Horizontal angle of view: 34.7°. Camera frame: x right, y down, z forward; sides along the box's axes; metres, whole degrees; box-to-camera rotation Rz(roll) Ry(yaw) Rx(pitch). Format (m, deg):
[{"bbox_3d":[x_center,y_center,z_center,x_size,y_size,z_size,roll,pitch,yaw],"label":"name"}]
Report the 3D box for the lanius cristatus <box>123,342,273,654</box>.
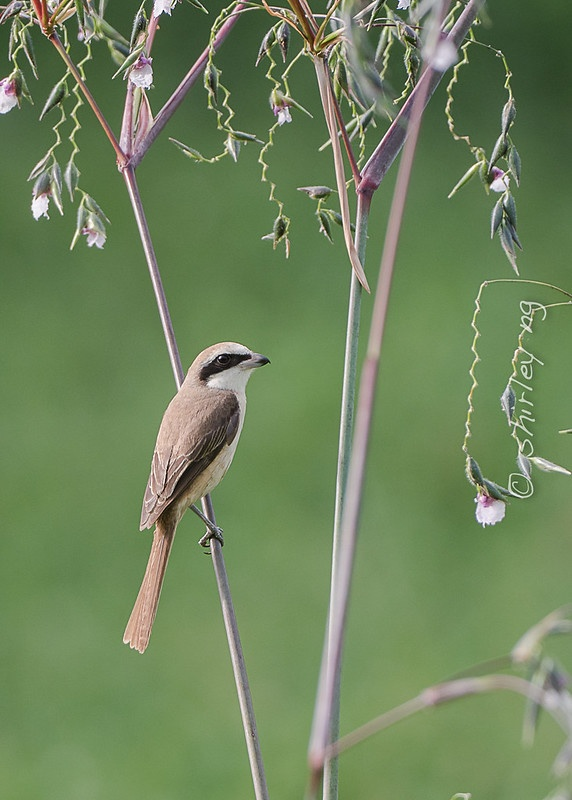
[{"bbox_3d":[-0.137,0.109,1.302,0.151,0.446,0.451,7,-8,4],"label":"lanius cristatus"}]
